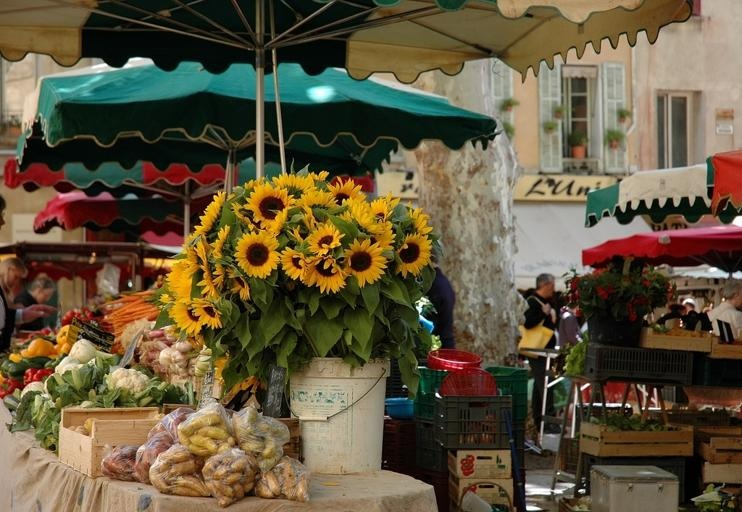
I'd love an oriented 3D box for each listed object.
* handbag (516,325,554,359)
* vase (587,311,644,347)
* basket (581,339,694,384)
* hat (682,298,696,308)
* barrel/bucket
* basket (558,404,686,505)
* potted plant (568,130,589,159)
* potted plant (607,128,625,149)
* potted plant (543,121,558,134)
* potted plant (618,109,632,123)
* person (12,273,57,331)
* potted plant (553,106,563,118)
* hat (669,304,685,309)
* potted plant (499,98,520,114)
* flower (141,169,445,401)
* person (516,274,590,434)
[{"bbox_3d":[2.097,1.088,15.988,0.282,0.366,0.107,21,-11,26],"label":"handbag"},{"bbox_3d":[2.500,0.771,12.865,0.362,0.262,0.362,5,-6,-1],"label":"vase"},{"bbox_3d":[2.738,1.086,12.816,0.939,0.408,0.620,0,1,-5],"label":"basket"},{"bbox_3d":[5.086,0.760,20.188,0.139,0.158,0.142,3,-5,-26],"label":"hat"},{"bbox_3d":[-0.261,1.261,10.286,0.737,0.960,0.600,0,-1,-30],"label":"barrel/bucket"},{"bbox_3d":[2.639,2.060,12.718,1.217,0.898,0.635,-4,5,14],"label":"basket"},{"bbox_3d":[4.474,-2.411,27.163,0.446,0.690,0.537,2,0,7],"label":"potted plant"},{"bbox_3d":[5.226,-2.522,27.076,0.362,0.423,0.388,1,-2,-1],"label":"potted plant"},{"bbox_3d":[3.839,-2.756,26.955,0.236,0.273,0.251,1,-7,-6],"label":"potted plant"},{"bbox_3d":[5.460,-3.040,27.099,0.258,0.296,0.279,4,-5,4],"label":"potted plant"},{"bbox_3d":[-4.421,0.585,16.563,0.580,0.948,0.580,-3,9,-19],"label":"person"},{"bbox_3d":[4.015,-3.102,27.054,0.195,0.231,0.209,0,-1,-5],"label":"potted plant"},{"bbox_3d":[3.965,0.661,16.373,0.129,0.059,0.115,1,-2,-8],"label":"hat"},{"bbox_3d":[2.927,-3.215,26.776,0.266,0.218,0.287,0,-5,-1],"label":"potted plant"},{"bbox_3d":[-0.540,0.264,10.284,2.111,1.880,0.446,-5,5,4],"label":"flower"},{"bbox_3d":[2.307,1.260,16.243,0.751,1.916,0.684,0,4,-10],"label":"person"}]
